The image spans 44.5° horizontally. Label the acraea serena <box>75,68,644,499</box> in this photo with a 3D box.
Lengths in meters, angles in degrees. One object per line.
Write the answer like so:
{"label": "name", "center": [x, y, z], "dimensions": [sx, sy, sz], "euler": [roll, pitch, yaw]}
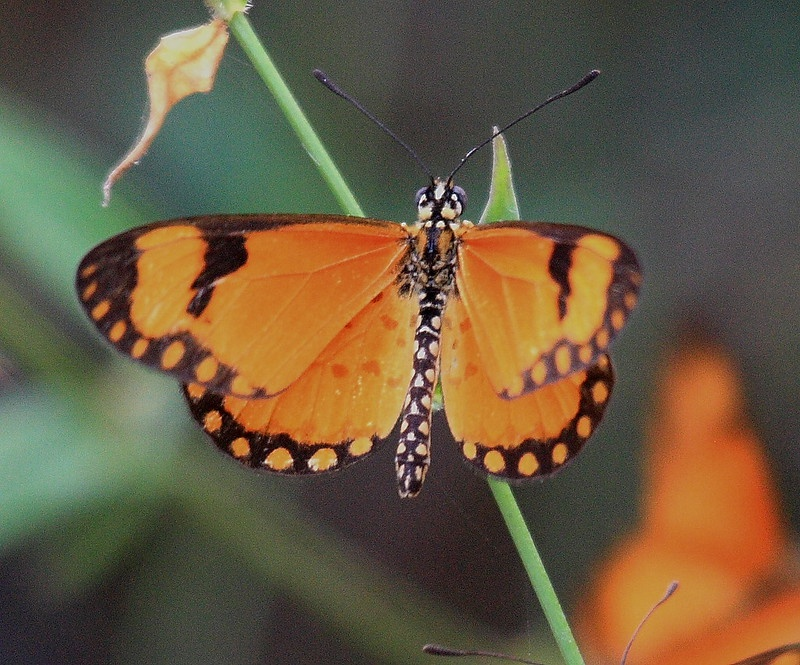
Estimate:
{"label": "acraea serena", "center": [0.041, -0.050, 1.064], "dimensions": [0.687, 0.510, 0.213], "euler": [-1, 32, -24]}
